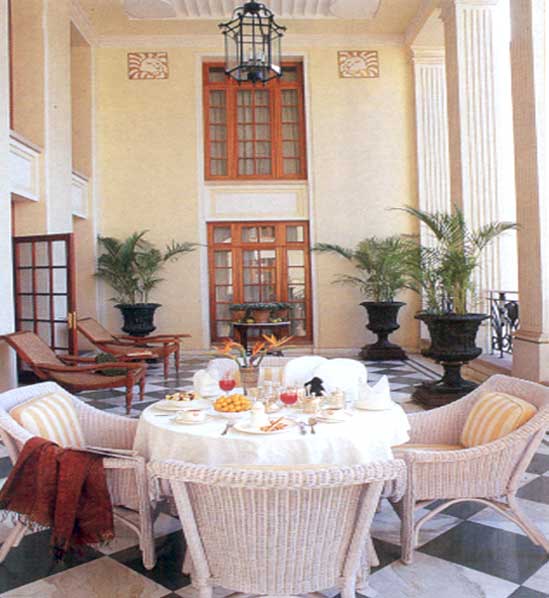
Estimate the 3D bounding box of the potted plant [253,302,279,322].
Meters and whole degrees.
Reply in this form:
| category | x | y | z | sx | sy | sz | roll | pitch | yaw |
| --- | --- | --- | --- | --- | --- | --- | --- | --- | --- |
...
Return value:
| category | x | y | z | sx | sy | sz | roll | pitch | yaw |
| --- | --- | --- | --- | --- | --- | --- | --- | --- | --- |
| potted plant | -0.139 | 0.185 | 8.593 | 0.292 | 0.164 | 0.266 | 0 | -4 | -2 |

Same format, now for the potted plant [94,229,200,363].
| category | x | y | z | sx | sy | sz | roll | pitch | yaw |
| --- | --- | --- | --- | --- | --- | --- | --- | --- | --- |
| potted plant | -2.037 | -0.080 | 9.467 | 1.855 | 1.537 | 1.541 | 0 | 8 | -5 |

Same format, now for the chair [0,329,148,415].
| category | x | y | z | sx | sy | sz | roll | pitch | yaw |
| --- | --- | --- | --- | --- | --- | --- | --- | --- | --- |
| chair | -1.820 | 0.655 | 5.932 | 1.196 | 0.572 | 0.669 | 3 | 3 | -1 |

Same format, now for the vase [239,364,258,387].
| category | x | y | z | sx | sy | sz | roll | pitch | yaw |
| --- | --- | --- | --- | --- | --- | --- | --- | --- | --- |
| vase | -0.130 | 0.396 | 3.300 | 0.114 | 0.102 | 0.109 | 3 | -8 | -34 |

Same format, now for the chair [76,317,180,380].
| category | x | y | z | sx | sy | sz | roll | pitch | yaw |
| --- | --- | --- | --- | --- | --- | --- | --- | --- | --- |
| chair | -1.787 | 0.607 | 7.811 | 1.330 | 0.569 | 0.700 | 3 | 5 | 4 |

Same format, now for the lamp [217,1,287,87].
| category | x | y | z | sx | sy | sz | roll | pitch | yaw |
| --- | --- | --- | --- | --- | --- | --- | --- | --- | --- |
| lamp | -0.184 | -1.915 | 4.770 | 0.510 | 0.465 | 0.424 | -2 | 1 | 16 |
